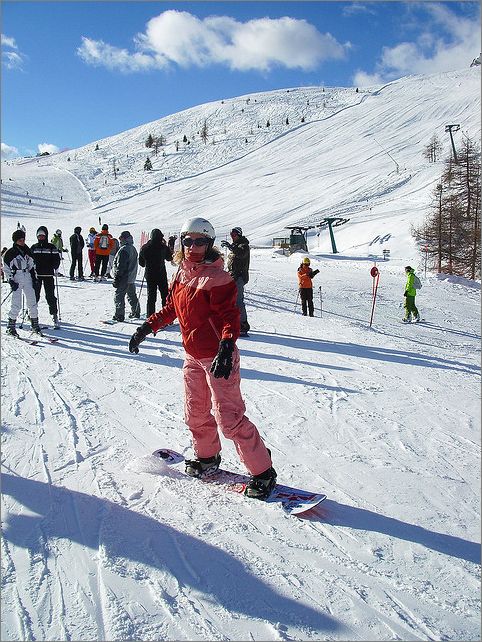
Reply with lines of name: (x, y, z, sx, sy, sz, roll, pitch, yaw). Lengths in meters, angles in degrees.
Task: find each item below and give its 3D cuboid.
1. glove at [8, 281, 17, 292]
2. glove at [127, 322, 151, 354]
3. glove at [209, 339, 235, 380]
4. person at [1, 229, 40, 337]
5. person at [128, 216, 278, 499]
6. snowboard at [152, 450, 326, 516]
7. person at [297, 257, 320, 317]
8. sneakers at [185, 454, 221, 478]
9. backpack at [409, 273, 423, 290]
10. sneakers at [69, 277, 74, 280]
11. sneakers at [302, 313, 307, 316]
glove: (-3.334, -0.502, 7.957, 0.111, 0.183, 0.164, 4, 10, -3)
glove: (-1.087, 0.207, 5.871, 0.271, 0.367, 0.131, -7, -35, 47)
glove: (-0.073, 0.249, 3.340, 0.082, 0.229, 0.153, 26, -18, -24)
person: (-3.299, -0.558, 8.245, 0.520, 1.595, 0.693, 1, 10, -19)
person: (-0.208, 0.213, 3.720, 0.548, 1.787, 1.069, -3, 12, -39)
snowboard: (-0.091, 1.134, 3.808, 1.412, 0.186, 0.399, 9, 14, 31)
person: (1.532, -0.790, 12.661, 0.448, 1.351, 1.590, 6, 9, 6)
sneakers: (-0.272, 1.041, 3.902, 0.279, 0.118, 0.105, -1, 5, -23)
backpack: (4.171, -0.941, 13.111, 0.433, 0.398, 0.302, 5, 24, 10)
sneakers: (-4.802, -1.191, 15.483, 0.096, 0.085, 0.165, 6, -4, -32)
sneakers: (1.454, -0.140, 12.575, 0.077, 0.065, 0.121, 5, 4, -32)
